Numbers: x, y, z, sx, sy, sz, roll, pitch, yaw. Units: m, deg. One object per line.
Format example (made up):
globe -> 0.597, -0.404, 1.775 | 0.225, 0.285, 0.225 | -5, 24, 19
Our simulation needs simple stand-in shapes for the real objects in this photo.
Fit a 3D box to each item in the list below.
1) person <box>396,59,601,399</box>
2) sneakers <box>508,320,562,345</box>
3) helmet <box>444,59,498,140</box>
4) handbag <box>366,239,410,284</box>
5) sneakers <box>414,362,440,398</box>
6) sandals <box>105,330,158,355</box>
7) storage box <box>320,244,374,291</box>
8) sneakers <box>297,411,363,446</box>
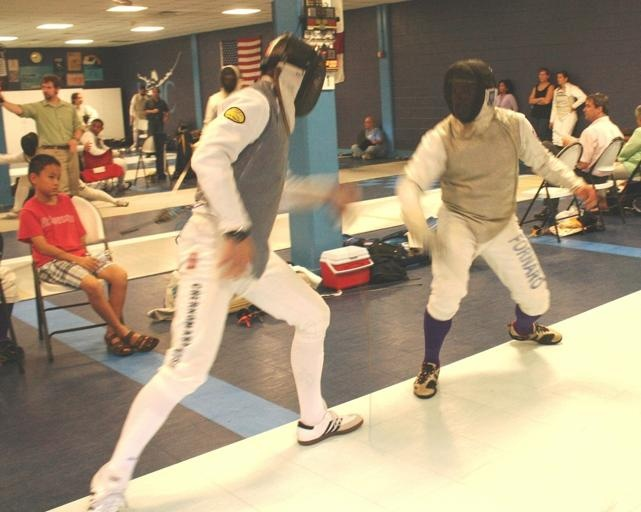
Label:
person -> 0.878, -0.143, 3.003 | 1.249, 1.789, 0.554 | -14, 25, -23
sneakers -> 1.371, 0.516, 3.628 | 0.399, 0.121, 0.130 | 0, 11, 9
helmet -> 0.784, -0.838, 2.865 | 0.268, 0.373, 0.298 | 0, 22, 9
handbag -> 0.635, 0.058, 5.267 | 0.372, 0.178, 0.477 | -5, 12, -16
sneakers -> 0.579, 0.698, 2.981 | 0.113, 0.080, 0.230 | 2, 8, 22
sandals -> -1.336, 0.613, 3.807 | 0.337, 0.065, 0.167 | 6, 16, 29
storage box -> 0.206, 0.115, 4.981 | 0.465, 0.254, 0.342 | -11, 11, -43
sneakers -> 0.047, 0.806, 2.674 | 0.381, 0.111, 0.118 | -11, 12, -26
